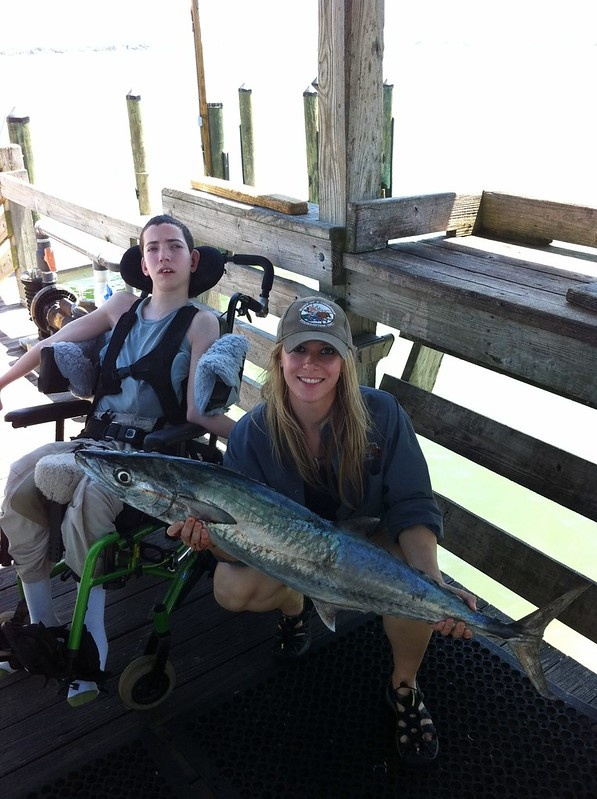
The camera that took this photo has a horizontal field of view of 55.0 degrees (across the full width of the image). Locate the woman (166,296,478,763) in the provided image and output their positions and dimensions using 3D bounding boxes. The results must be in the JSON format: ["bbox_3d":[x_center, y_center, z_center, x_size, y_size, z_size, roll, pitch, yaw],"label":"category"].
[{"bbox_3d":[0.111,0.342,1.556,0.771,1.123,0.819,5,16,29],"label":"woman"}]

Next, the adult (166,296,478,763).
[{"bbox_3d":[0.115,0.343,1.534,0.791,1.128,0.838,6,16,30],"label":"adult"}]

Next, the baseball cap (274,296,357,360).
[{"bbox_3d":[0.047,-0.204,1.585,0.222,0.158,0.292,3,9,-6],"label":"baseball cap"}]

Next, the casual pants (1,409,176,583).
[{"bbox_3d":[-0.766,0.288,1.897,0.405,0.518,0.196,1,3,-7],"label":"casual pants"}]

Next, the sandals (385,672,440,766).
[{"bbox_3d":[0.305,0.850,1.551,0.098,0.086,0.222,-2,28,-3],"label":"sandals"}]
